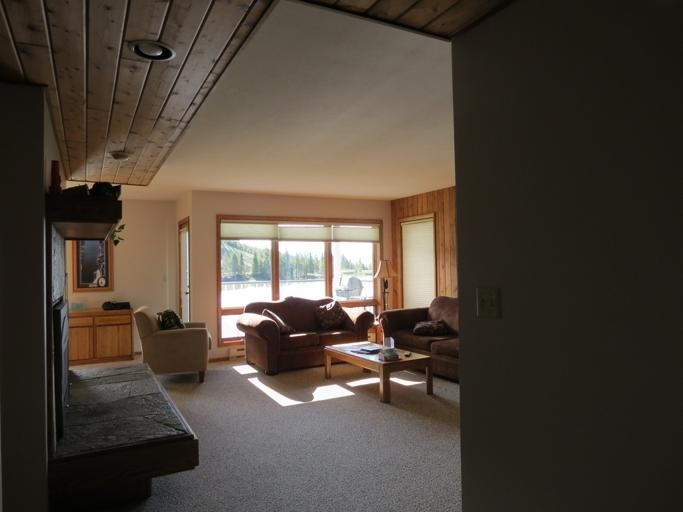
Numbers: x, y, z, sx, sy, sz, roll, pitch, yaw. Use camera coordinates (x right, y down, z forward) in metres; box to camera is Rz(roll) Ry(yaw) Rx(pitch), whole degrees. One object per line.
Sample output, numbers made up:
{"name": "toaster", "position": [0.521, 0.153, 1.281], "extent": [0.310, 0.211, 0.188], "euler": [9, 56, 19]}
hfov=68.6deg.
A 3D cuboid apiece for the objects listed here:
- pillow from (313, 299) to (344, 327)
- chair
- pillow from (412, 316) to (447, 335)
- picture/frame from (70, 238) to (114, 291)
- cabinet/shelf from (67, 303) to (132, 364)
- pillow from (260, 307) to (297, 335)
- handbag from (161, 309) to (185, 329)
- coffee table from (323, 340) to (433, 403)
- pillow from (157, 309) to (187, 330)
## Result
{"name": "pillow", "position": [-0.161, 0.850, 7.247], "extent": [0.327, 0.365, 0.172], "euler": [-6, -15, 2]}
{"name": "chair", "position": [-2.062, 1.043, 6.218], "extent": [0.846, 0.884, 0.890], "euler": [-1, 0, -20]}
{"name": "pillow", "position": [1.140, 0.921, 6.394], "extent": [0.432, 0.156, 0.293], "euler": [-1, 2, -1]}
{"name": "picture/frame", "position": [-3.816, 0.141, 7.747], "extent": [0.549, 1.057, 0.060], "euler": [-4, 42, -24]}
{"name": "cabinet/shelf", "position": [-3.502, 1.153, 7.247], "extent": [1.025, 0.938, 0.405], "euler": [1, -4, -28]}
{"name": "pillow", "position": [-0.830, 0.890, 6.700], "extent": [0.433, 0.308, 0.804], "euler": [-1, 2, -11]}
{"name": "handbag", "position": [-2.056, 0.786, 6.111], "extent": [0.237, 0.252, 0.186], "euler": [-19, -5, -17]}
{"name": "coffee table", "position": [0.408, 1.239, 5.627], "extent": [0.668, 0.462, 1.236], "euler": [-2, 2, -33]}
{"name": "pillow", "position": [-2.082, 0.787, 6.089], "extent": [0.257, 0.292, 0.211], "euler": [-1, 1, -32]}
